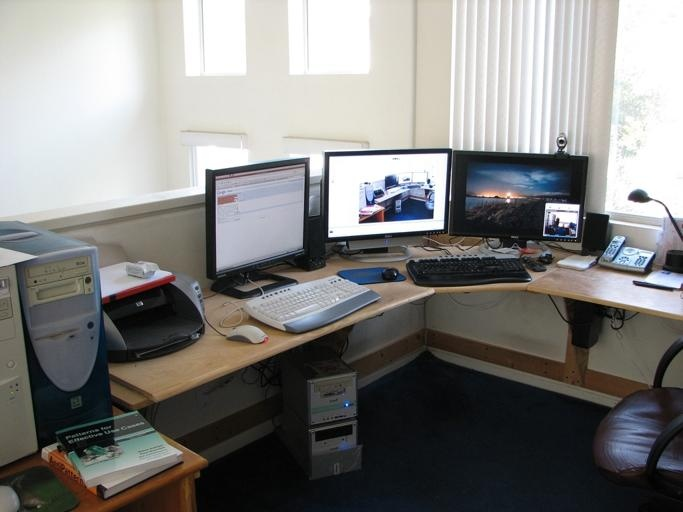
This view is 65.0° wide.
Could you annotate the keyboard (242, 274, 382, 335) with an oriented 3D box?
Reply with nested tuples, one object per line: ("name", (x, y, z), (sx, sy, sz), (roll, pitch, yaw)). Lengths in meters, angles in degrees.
("keyboard", (-0.115, 0.198, 2.276), (0.517, 0.073, 0.322), (-17, 25, -40))

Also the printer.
("printer", (-0.705, 0.213, 1.969), (0.395, 0.136, 0.296), (22, 30, 40))

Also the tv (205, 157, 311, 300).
("tv", (-0.378, -0.145, 2.455), (0.207, 0.584, 0.601), (15, 21, 37))

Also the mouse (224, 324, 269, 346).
("mouse", (-0.350, 0.298, 2.007), (0.130, 0.047, 0.073), (6, 10, 18))

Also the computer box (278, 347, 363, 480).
("computer box", (-0.115, 0.803, 2.705), (0.292, 0.514, 0.451), (-2, 8, -28))

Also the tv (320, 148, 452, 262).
("tv", (0.244, -0.278, 2.834), (0.703, 0.579, 0.234), (-4, 18, -15))
